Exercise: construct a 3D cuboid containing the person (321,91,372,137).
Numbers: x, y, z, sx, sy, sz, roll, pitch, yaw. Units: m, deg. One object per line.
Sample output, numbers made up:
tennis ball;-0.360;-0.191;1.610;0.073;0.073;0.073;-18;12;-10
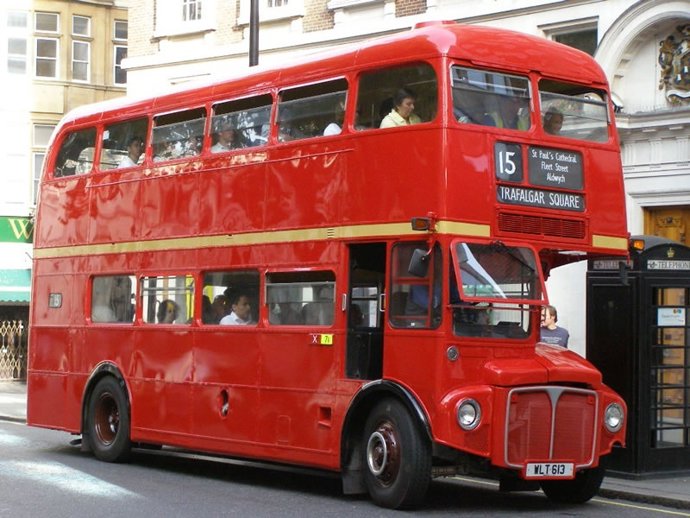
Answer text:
person;0.042;-1.852;10.625;0.399;0.522;0.750;1;-3;-26
